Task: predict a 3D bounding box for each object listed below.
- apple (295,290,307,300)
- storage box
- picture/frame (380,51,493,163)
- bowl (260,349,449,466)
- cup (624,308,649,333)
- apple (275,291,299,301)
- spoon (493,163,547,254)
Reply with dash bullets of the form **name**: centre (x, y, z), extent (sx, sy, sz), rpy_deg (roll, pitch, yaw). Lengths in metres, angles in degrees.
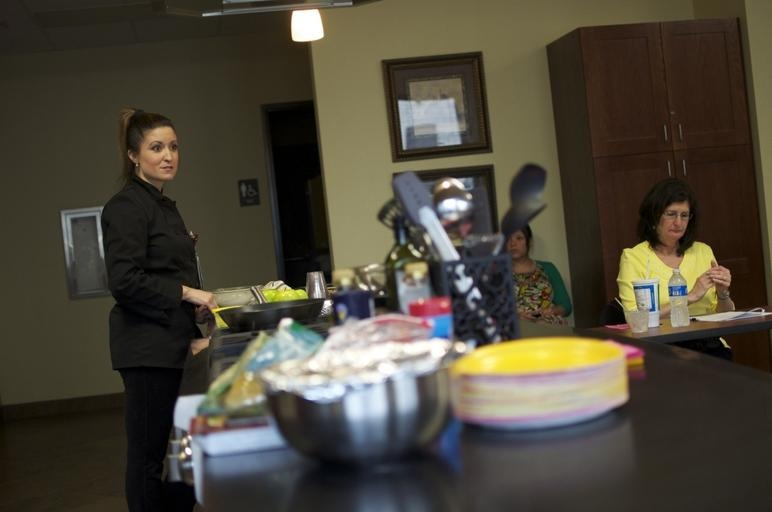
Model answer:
- **apple**: centre (-0.344, 0.154, 2.239), extent (0.045, 0.031, 0.038), rpy_deg (-8, 9, -44)
- **storage box**: centre (0.210, 0.087, 1.237), extent (0.185, 0.191, 0.052), rpy_deg (0, 4, 3)
- **picture/frame**: centre (0.323, -1.098, 4.071), extent (0.746, 0.769, 0.057), rpy_deg (-4, 3, -5)
- **bowl**: centre (-0.007, 0.263, 1.046), extent (0.308, 0.159, 0.322), rpy_deg (-5, 4, 0)
- **cup**: centre (1.119, 0.303, 2.540), extent (0.093, 0.106, 0.098), rpy_deg (-2, -7, 0)
- **apple**: centre (-0.379, 0.155, 2.170), extent (0.055, 0.031, 0.048), rpy_deg (-5, 4, 8)
- **spoon**: centre (0.294, -0.103, 1.198), extent (0.088, 0.188, 0.173), rpy_deg (1, 9, 15)
